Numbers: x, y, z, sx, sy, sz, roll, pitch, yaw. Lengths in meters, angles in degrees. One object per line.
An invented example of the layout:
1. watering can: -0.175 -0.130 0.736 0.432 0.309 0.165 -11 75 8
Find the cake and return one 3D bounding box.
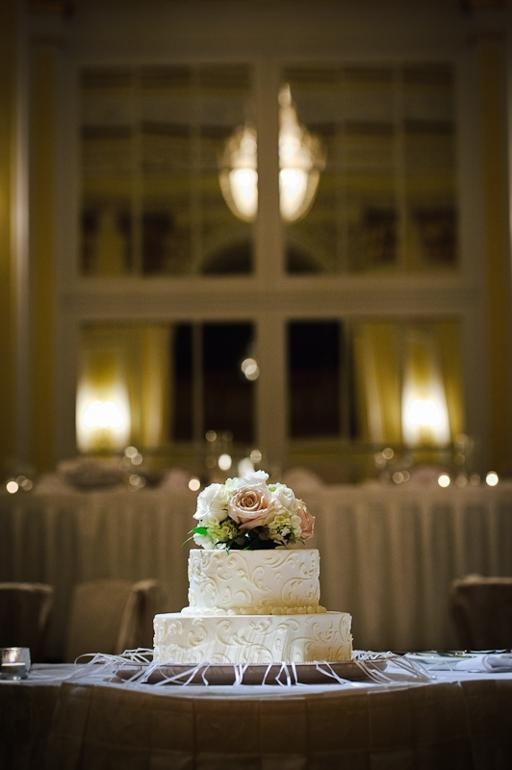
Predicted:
1. cake: 0.001 0.314 1.486 0.230 0.128 0.224 2 -6 -24

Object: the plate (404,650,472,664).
1. plate: 0.284 0.426 1.446 0.097 0.011 0.102 -1 -1 13

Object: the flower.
1. flower: -0.012 0.250 1.584 0.212 0.167 0.204 -9 -9 16
